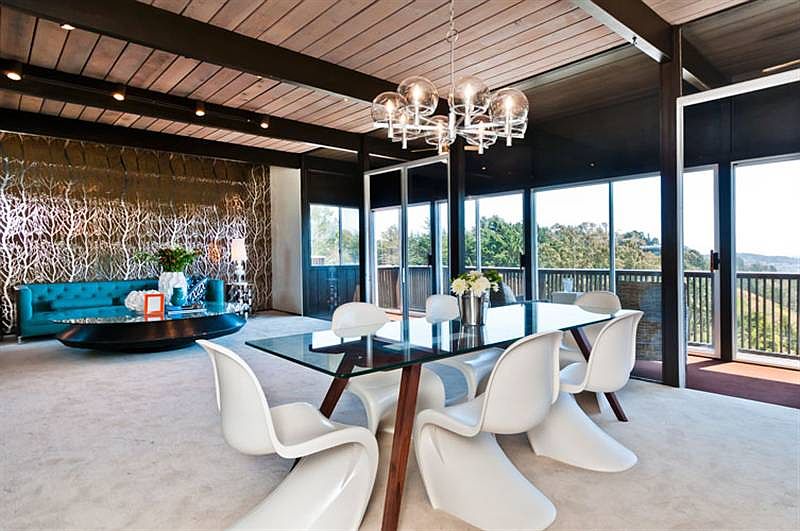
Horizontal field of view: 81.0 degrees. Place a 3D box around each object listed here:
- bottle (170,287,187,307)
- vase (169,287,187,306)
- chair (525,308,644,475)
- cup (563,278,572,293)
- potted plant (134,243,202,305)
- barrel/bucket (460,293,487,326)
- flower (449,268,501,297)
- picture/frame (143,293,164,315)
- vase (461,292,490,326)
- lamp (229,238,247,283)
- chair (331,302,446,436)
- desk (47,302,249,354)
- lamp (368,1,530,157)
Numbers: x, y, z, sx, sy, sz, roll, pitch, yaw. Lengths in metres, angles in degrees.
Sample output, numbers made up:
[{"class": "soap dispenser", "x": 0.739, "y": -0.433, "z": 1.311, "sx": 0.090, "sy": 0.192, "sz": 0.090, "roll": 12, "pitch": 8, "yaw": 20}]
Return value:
[{"class": "bottle", "x": -3.370, "y": 0.458, "z": 7.079, "sx": 0.264, "sy": 0.317, "sz": 0.258, "roll": 6, "pitch": -8, "yaw": -38}, {"class": "vase", "x": -3.372, "y": 0.461, "z": 7.079, "sx": 0.259, "sy": 0.310, "sz": 0.252, "roll": 7, "pitch": -8, "yaw": -40}, {"class": "chair", "x": 1.351, "y": 0.886, "z": 3.887, "sx": 0.766, "sy": 1.186, "sz": 0.921, "roll": -22, "pitch": 9, "yaw": -10}, {"class": "cup", "x": 1.947, "y": 0.221, "z": 5.491, "sx": 0.110, "sy": 0.129, "sz": 0.129, "roll": 0, "pitch": -3, "yaw": -13}, {"class": "potted plant", "x": -3.600, "y": 0.105, "z": 7.694, "sx": 0.681, "sy": 0.738, "sz": 0.606, "roll": -13, "pitch": 6, "yaw": -14}, {"class": "barrel/bucket", "x": 0.605, "y": 0.376, "z": 4.002, "sx": 0.256, "sy": 0.260, "sz": 0.249, "roll": 0, "pitch": -1, "yaw": 0}, {"class": "flower", "x": 0.638, "y": 0.146, "z": 4.042, "sx": 0.424, "sy": 0.228, "sz": 0.252, "roll": -1, "pitch": 0, "yaw": -3}, {"class": "picture/frame", "x": -3.341, "y": 0.511, "z": 6.342, "sx": 0.279, "sy": 0.279, "sz": 0.277, "roll": 0, "pitch": 3, "yaw": -37}, {"class": "vase", "x": 0.612, "y": 0.376, "z": 4.002, "sx": 0.272, "sy": 0.218, "sz": 0.231, "roll": 0, "pitch": 0, "yaw": 29}, {"class": "lamp", "x": -3.242, "y": -0.117, "z": 9.316, "sx": 0.313, "sy": 0.663, "sz": 0.608, "roll": -2, "pitch": 1, "yaw": -20}, {"class": "chair", "x": -0.174, "y": 0.853, "z": 4.185, "sx": 0.769, "sy": 1.076, "sz": 0.804, "roll": -11, "pitch": 12, "yaw": -31}, {"class": "desk", "x": -3.389, "y": 0.893, "z": 6.452, "sx": 2.180, "sy": 0.529, "sz": 0.746, "roll": -1, "pitch": 0, "yaw": -32}, {"class": "lamp", "x": 0.306, "y": -1.774, "z": 4.354, "sx": 1.242, "sy": 1.480, "sz": 1.339, "roll": -2, "pitch": 1, "yaw": -11}]
